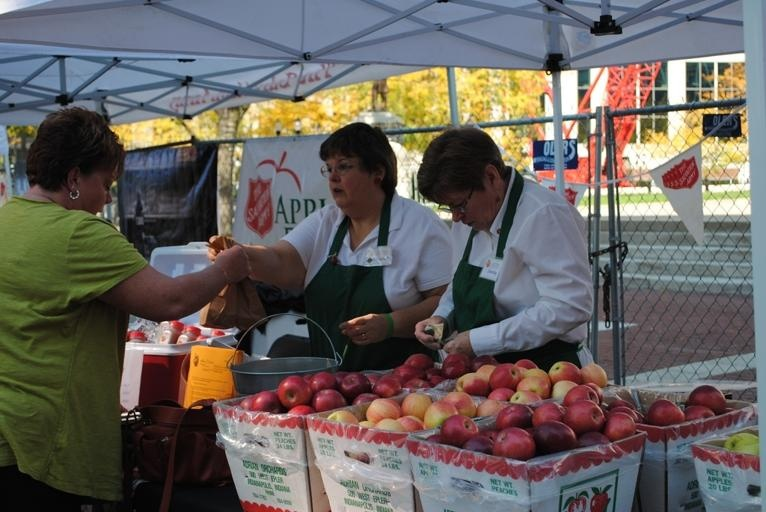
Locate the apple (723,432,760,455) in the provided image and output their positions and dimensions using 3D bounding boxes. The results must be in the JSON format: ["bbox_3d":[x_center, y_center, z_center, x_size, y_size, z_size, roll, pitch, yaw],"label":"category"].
[{"bbox_3d":[1.649,0.850,3.874,0.108,0.116,0.136,12,6,2],"label":"apple"}]

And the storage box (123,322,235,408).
[{"bbox_3d":[-1.376,0.883,6.124,0.496,0.522,0.490,14,-15,-41],"label":"storage box"}]

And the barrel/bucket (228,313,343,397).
[{"bbox_3d":[-0.577,0.651,4.826,0.465,0.601,0.536,-10,-12,40],"label":"barrel/bucket"}]

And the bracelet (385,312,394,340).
[{"bbox_3d":[0.040,0.428,5.284,0.038,0.137,0.086,1,2,31],"label":"bracelet"}]

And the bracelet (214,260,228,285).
[{"bbox_3d":[-0.876,0.082,4.639,0.088,0.108,0.095,-3,-5,6],"label":"bracelet"}]

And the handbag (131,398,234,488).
[{"bbox_3d":[-1.177,1.092,4.928,0.473,0.510,0.669,-2,-8,20],"label":"handbag"}]
